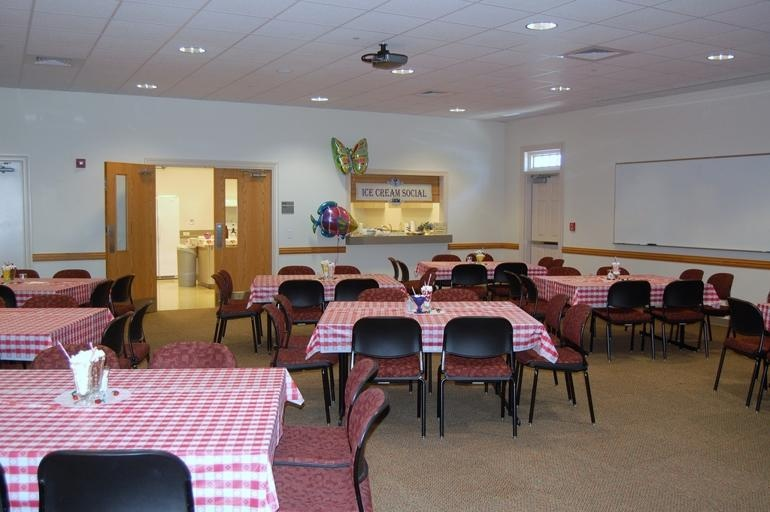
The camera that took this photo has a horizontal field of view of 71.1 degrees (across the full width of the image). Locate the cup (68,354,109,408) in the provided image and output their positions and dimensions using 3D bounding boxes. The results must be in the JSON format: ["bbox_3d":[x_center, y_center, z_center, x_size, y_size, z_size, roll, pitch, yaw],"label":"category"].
[{"bbox_3d":[-1.911,0.759,3.468,0.211,0.343,0.189,-7,12,-30],"label":"cup"}]

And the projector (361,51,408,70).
[{"bbox_3d":[-0.040,-2.420,6.662,0.401,0.125,0.362,2,3,43],"label":"projector"}]

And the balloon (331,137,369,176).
[{"bbox_3d":[-0.747,-2.026,10.929,0.818,0.888,0.275,-3,3,-30],"label":"balloon"}]

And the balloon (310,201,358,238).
[{"bbox_3d":[-1.074,-0.696,10.781,0.797,0.767,0.723,4,11,21],"label":"balloon"}]

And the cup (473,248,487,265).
[{"bbox_3d":[1.684,0.003,9.589,0.268,0.330,0.236,-2,5,-34],"label":"cup"}]

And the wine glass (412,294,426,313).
[{"bbox_3d":[0.348,0.500,5.530,0.172,0.160,0.161,-1,0,2],"label":"wine glass"}]

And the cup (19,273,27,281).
[{"bbox_3d":[-5.143,0.302,7.605,0.071,0.084,0.091,0,4,-5],"label":"cup"}]

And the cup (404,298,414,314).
[{"bbox_3d":[0.252,0.533,5.610,0.129,0.129,0.122,0,-3,0],"label":"cup"}]

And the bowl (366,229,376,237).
[{"bbox_3d":[-0.293,-0.475,11.357,0.141,0.098,0.139,0,-1,0],"label":"bowl"}]
